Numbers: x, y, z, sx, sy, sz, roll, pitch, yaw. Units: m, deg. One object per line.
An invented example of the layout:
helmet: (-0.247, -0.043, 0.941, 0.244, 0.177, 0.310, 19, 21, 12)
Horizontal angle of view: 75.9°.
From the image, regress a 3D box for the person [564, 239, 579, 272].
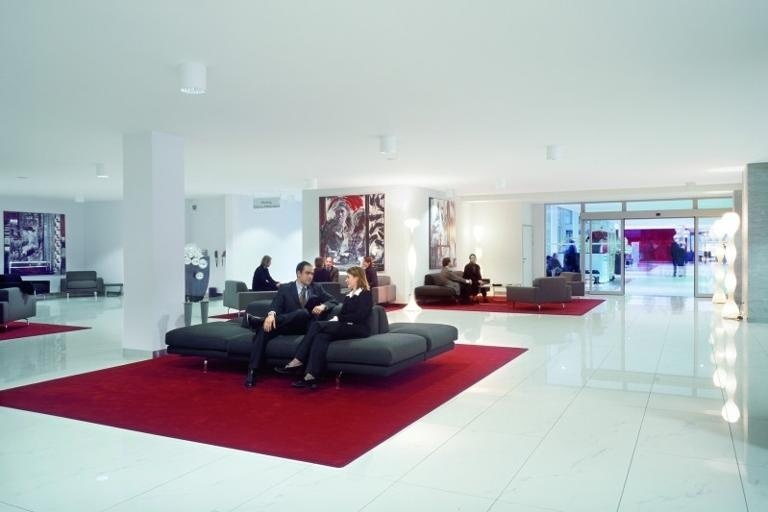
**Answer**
person: (7.646, -0.010, 20.064, 0.223, 1.280, 0.708, -3, 4, -37)

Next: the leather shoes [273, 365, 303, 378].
leather shoes: (-1.342, 1.649, 7.045, 0.509, 0.211, 0.202, 5, -9, 2)

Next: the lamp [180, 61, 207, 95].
lamp: (-2.232, -2.047, 5.874, 0.384, 0.392, 0.349, -3, 9, -24)

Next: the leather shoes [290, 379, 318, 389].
leather shoes: (-1.095, 1.721, 6.689, 0.332, 0.148, 0.132, 4, -9, -3)

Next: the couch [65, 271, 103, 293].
couch: (-11.794, 1.051, 19.189, 1.299, 0.940, 0.895, 3, -7, -42)

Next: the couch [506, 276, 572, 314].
couch: (4.399, 1.046, 14.441, 1.507, 0.853, 1.039, 0, 1, -32)

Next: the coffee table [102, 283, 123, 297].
coffee table: (-11.070, 1.390, 20.020, 0.718, 0.520, 0.702, 1, 0, -21)

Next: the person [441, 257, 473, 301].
person: (2.295, 0.813, 15.770, 0.927, 1.538, 0.600, -3, 21, 8)
